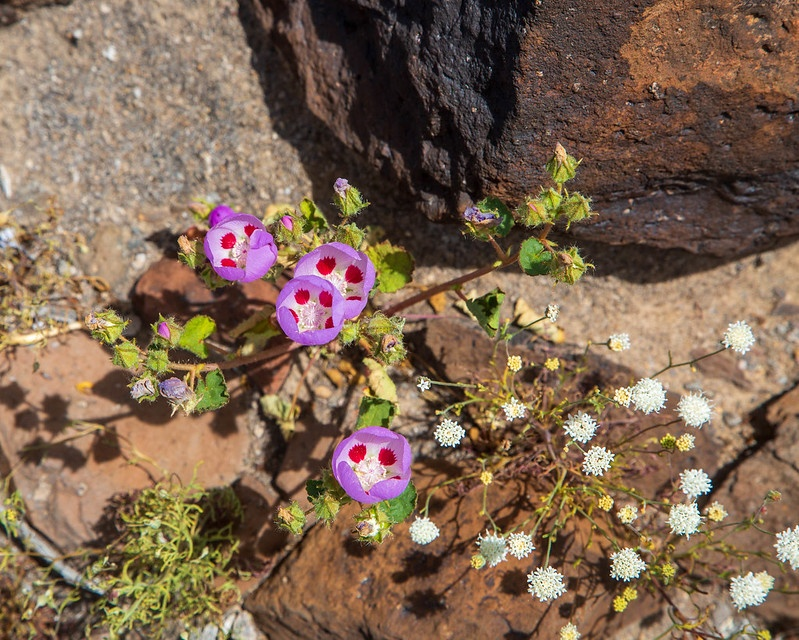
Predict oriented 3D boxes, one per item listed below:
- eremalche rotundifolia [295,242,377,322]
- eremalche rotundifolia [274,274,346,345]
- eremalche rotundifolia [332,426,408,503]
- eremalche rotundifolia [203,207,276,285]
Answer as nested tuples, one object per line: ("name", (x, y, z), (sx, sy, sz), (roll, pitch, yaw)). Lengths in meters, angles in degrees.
("eremalche rotundifolia", (-0.373, -0.304, 5.266), (0.406, 0.311, 0.487), (-33, 88, -12))
("eremalche rotundifolia", (-0.505, -0.053, 5.084), (0.372, 0.280, 0.394), (3, 82, 0))
("eremalche rotundifolia", (-0.155, 0.837, 5.119), (0.454, 0.353, 0.434), (16, 82, 2))
("eremalche rotundifolia", (-0.937, -0.429, 5.180), (0.397, 0.166, 0.409), (-35, 84, -5))
